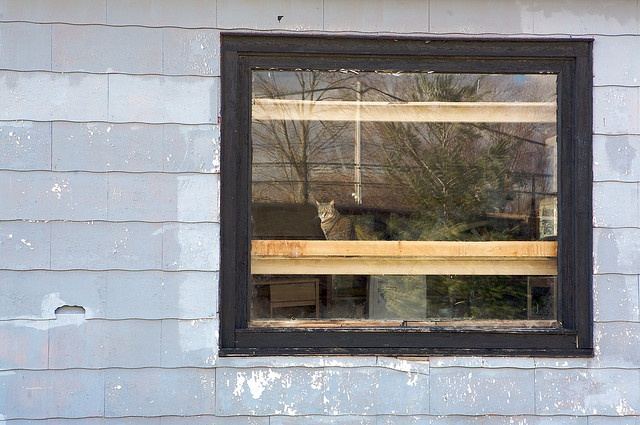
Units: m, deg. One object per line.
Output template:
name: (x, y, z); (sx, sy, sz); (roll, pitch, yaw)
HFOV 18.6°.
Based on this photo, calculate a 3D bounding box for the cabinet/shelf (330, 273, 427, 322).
cabinet/shelf: (0.366, 0.502, 12.475); (0.597, 0.188, 0.166); (-3, 2, 6)

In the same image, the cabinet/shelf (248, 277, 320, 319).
cabinet/shelf: (-0.231, 0.544, 12.485); (0.412, 0.297, 0.132); (-4, 9, 0)
